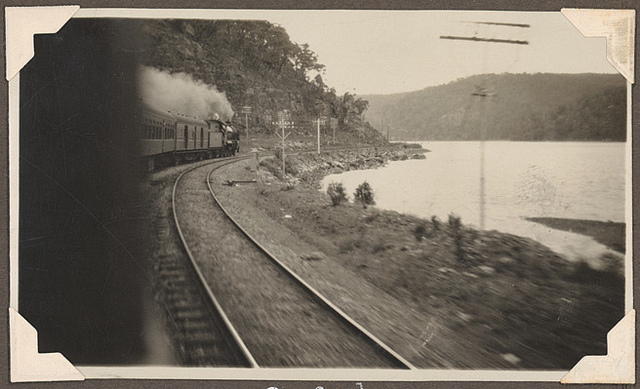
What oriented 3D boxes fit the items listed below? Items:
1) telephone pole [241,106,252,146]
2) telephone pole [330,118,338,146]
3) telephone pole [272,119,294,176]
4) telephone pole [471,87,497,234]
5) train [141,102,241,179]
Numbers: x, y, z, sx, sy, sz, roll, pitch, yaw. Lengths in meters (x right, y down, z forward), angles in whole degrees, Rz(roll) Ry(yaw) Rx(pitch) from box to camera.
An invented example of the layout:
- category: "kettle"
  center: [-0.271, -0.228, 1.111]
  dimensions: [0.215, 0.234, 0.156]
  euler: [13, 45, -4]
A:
- category: "telephone pole"
  center: [-1.904, -1.809, 13.696]
  dimensions: [0.208, 0.992, 0.071]
  euler: [1, 7, 18]
- category: "telephone pole"
  center: [0.353, -1.744, 13.886]
  dimensions: [0.201, 0.598, 0.132]
  euler: [-1, 7, -1]
- category: "telephone pole"
  center: [-0.970, -1.240, 13.655]
  dimensions: [0.556, 1.389, 0.574]
  euler: [1, 0, -2]
- category: "telephone pole"
  center: [3.998, -0.867, 13.067]
  dimensions: [0.266, 3.613, 0.585]
  euler: [0, 7, 6]
- category: "train"
  center: [-3.733, -1.563, 14.632]
  dimensions: [0.890, 1.489, 4.539]
  euler: [-4, 5, 21]
